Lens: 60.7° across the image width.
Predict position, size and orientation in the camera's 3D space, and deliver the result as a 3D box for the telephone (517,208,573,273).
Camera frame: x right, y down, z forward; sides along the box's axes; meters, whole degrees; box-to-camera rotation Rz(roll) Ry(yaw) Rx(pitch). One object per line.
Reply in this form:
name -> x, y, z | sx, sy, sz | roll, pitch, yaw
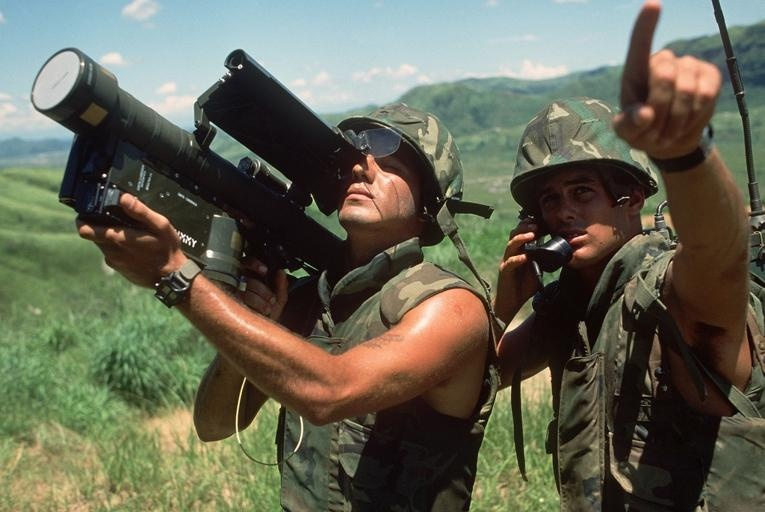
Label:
telephone -> 1.125, -0.043, 4.445 | 0.391, 0.167, 0.280 | 25, 90, 54
